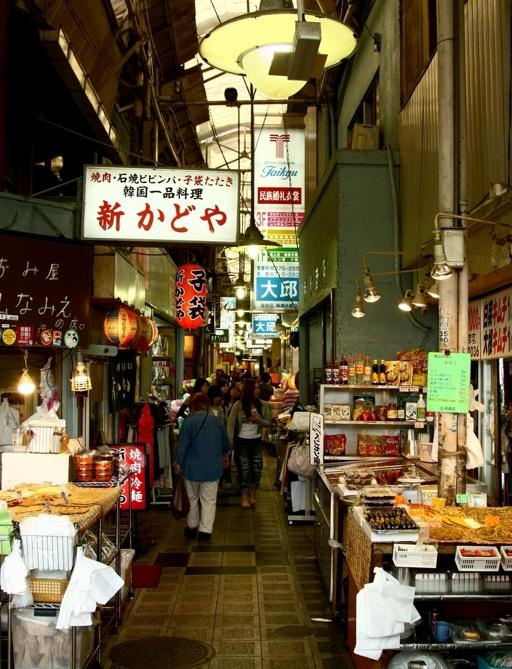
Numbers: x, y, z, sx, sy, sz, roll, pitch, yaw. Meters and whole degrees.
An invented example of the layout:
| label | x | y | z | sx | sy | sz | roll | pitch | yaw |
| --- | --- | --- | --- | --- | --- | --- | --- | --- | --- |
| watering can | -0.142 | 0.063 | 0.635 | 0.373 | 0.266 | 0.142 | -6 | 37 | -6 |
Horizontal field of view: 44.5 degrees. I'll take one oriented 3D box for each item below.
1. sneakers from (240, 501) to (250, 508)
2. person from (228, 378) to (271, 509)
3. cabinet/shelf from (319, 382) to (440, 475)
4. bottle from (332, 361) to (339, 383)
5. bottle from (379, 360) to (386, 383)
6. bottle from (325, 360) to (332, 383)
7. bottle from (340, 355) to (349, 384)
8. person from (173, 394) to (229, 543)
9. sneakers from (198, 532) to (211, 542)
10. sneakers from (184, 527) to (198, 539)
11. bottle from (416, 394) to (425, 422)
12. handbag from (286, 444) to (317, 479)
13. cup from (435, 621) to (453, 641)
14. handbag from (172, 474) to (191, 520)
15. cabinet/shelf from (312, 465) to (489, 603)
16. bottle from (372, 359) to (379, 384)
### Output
| label | x | y | z | sx | sy | sz | roll | pitch | yaw |
| --- | --- | --- | --- | --- | --- | --- | --- | --- | --- |
| sneakers | -0.135 | 2.284 | 8.358 | 0.112 | 0.102 | 0.192 | 1 | -5 | -3 |
| person | -0.139 | 1.493 | 8.426 | 0.571 | 1.688 | 0.592 | -1 | -5 | 23 |
| cabinet/shelf | 1.203 | 0.925 | 6.024 | 0.980 | 0.952 | 0.318 | 0 | -8 | -1 |
| bottle | 0.813 | 0.404 | 6.424 | 0.067 | 0.219 | 0.222 | 0 | -5 | 7 |
| bottle | 1.272 | 0.395 | 6.313 | 0.065 | 0.231 | 0.278 | 0 | -5 | 12 |
| bottle | 0.742 | 0.404 | 6.401 | 0.085 | 0.216 | 0.180 | 1 | -5 | 5 |
| bottle | 0.902 | 0.394 | 6.449 | 0.091 | 0.242 | 0.271 | 0 | -5 | 7 |
| person | -0.603 | 1.530 | 6.796 | 0.335 | 1.364 | 0.737 | -2 | -6 | 32 |
| sneakers | -0.540 | 2.166 | 6.671 | 0.139 | 0.087 | 0.107 | 2 | -5 | -16 |
| sneakers | -0.710 | 2.168 | 6.803 | 0.080 | 0.143 | 0.134 | 0 | -4 | 0 |
| bottle | 1.610 | 0.728 | 6.129 | 0.091 | 0.259 | 0.154 | 1 | -5 | 3 |
| handbag | 0.519 | 1.455 | 7.148 | 0.234 | 0.412 | 0.718 | 2 | -5 | -10 |
| cup | 0.886 | 1.409 | 2.957 | 0.085 | 0.079 | 0.068 | 1 | -5 | 1 |
| handbag | -0.780 | 1.718 | 6.548 | 0.172 | 0.472 | 0.274 | 2 | -5 | -7 |
| cabinet/shelf | 0.917 | 1.759 | 4.794 | 0.837 | 1.034 | 1.508 | 1 | -2 | -1 |
| bottle | 1.214 | 0.400 | 6.369 | 0.085 | 0.246 | 0.337 | 0 | -5 | 11 |
